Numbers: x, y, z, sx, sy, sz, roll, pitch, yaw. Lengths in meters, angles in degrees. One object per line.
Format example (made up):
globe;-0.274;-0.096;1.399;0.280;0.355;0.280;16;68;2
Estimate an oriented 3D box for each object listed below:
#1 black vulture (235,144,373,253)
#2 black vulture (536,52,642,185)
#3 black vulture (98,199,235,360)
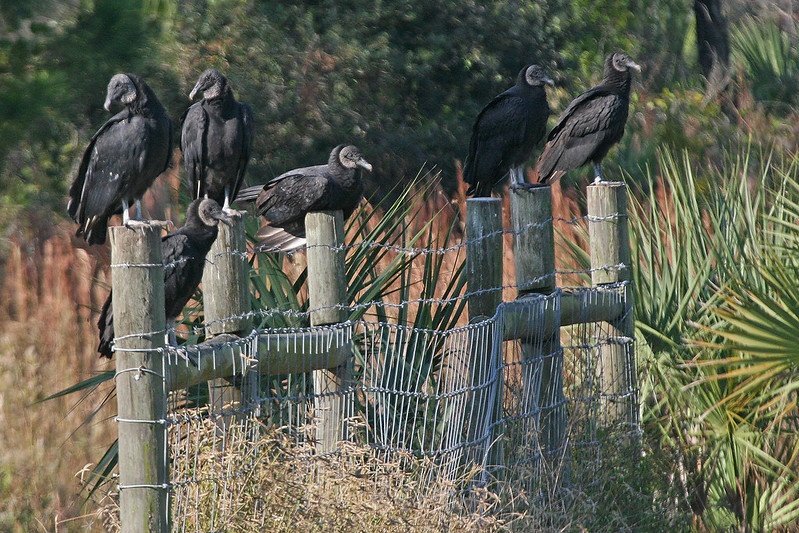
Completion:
black vulture;-0.865;-0.569;14.571;1.306;0.929;0.661;-1;-1;24
black vulture;1.603;-1.297;14.918;0.893;1.108;0.527;-2;3;5
black vulture;-1.786;0.095;13.274;1.016;1.197;0.802;-3;3;-7
